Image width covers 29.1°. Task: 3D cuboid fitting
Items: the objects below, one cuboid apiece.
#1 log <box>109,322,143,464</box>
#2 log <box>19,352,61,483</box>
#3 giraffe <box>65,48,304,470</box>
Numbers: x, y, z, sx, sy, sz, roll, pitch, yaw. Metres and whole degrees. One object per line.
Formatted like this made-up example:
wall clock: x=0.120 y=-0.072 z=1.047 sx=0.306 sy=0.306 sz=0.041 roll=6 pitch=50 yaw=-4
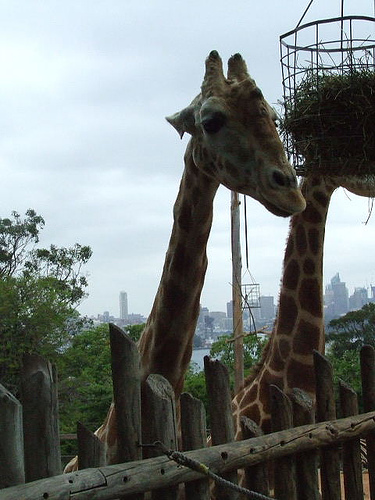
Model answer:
log: x=-0.188 y=0.460 z=2.283 sx=0.086 sy=0.424 sz=0.068 roll=16 pitch=-33 yaw=-38
log: x=-0.422 y=0.474 z=2.078 sx=0.107 sy=0.365 sz=0.203 roll=-1 pitch=-5 yaw=-14
giraffe: x=0.033 y=0.056 z=2.768 sx=0.877 sy=1.596 sz=1.226 roll=-2 pitch=-5 yaw=-3
